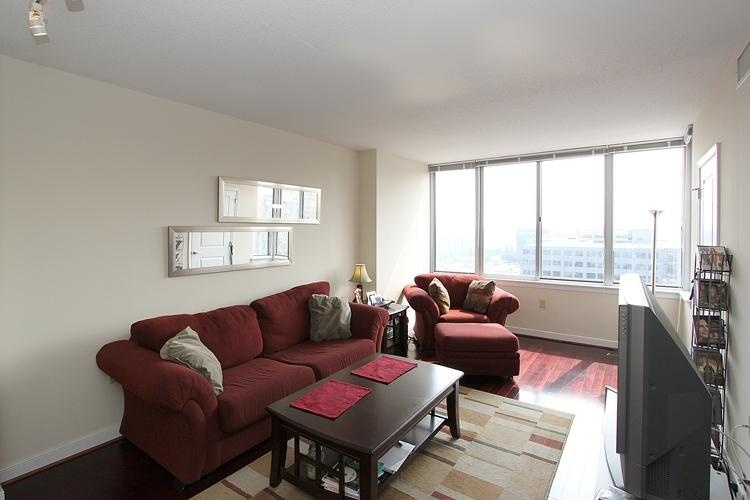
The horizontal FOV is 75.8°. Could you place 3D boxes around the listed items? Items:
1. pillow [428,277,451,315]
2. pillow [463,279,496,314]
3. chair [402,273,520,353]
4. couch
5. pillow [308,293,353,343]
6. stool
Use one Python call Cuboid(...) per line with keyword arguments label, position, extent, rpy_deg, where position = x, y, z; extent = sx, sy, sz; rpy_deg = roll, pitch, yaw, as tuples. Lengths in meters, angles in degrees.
Cuboid(label="pillow", position=(0.859, 0.554, 6.618), extent=(0.358, 0.476, 0.663), rpy_deg=(4, 3, 6))
Cuboid(label="pillow", position=(1.397, 0.607, 6.463), extent=(0.187, 0.414, 0.422), rpy_deg=(28, -11, -31))
Cuboid(label="chair", position=(1.108, 0.800, 6.581), extent=(1.622, 1.054, 0.947), rpy_deg=(1, -11, -1))
Cuboid(label="couch", position=(-1.458, 1.162, 4.548), extent=(1.357, 1.199, 3.023), rpy_deg=(-1, 1, 33))
Cuboid(label="pillow", position=(-0.517, 0.784, 5.429), extent=(0.522, 0.515, 0.193), rpy_deg=(1, -29, -13))
Cuboid(label="stool", position=(1.194, 1.139, 5.444), extent=(0.831, 0.478, 0.598), rpy_deg=(0, -1, 3))
